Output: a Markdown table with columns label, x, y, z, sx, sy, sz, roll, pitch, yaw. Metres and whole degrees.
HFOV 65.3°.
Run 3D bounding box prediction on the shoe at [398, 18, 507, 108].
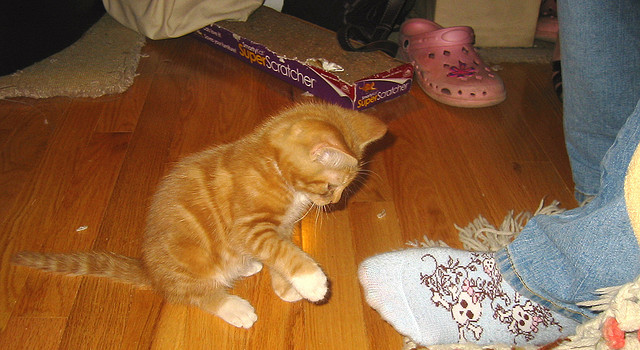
| label | x | y | z | sx | sy | sz | roll | pitch | yaw |
| --- | --- | --- | --- | --- | --- | --- | --- | --- | --- |
| shoe | 0.667 | -0.535 | 2.487 | 0.287 | 0.265 | 0.503 | -12 | 57 | -26 |

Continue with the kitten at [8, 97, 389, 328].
| label | x | y | z | sx | sy | sz | roll | pitch | yaw |
| --- | --- | --- | --- | --- | --- | --- | --- | --- | --- |
| kitten | -0.543 | 0.108 | 1.950 | 1.470 | 0.785 | 0.428 | 7 | 21 | 6 |
